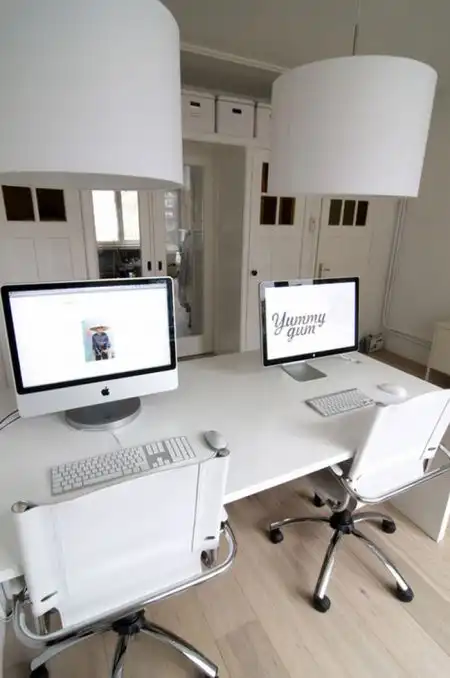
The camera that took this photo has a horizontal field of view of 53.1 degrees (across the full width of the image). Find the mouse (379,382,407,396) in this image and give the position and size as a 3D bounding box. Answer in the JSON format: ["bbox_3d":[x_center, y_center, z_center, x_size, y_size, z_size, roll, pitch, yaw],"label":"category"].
[{"bbox_3d":[0.633,0.183,1.691,0.042,0.019,0.064,-9,19,-29],"label":"mouse"}]

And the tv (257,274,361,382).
[{"bbox_3d":[0.341,-0.036,1.814,0.331,0.328,0.100,-13,22,-25],"label":"tv"}]

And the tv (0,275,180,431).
[{"bbox_3d":[-0.386,0.048,1.319,0.344,0.349,0.158,-12,27,-30],"label":"tv"}]

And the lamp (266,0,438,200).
[{"bbox_3d":[0.391,-0.672,1.407,0.418,0.494,0.414,17,25,41],"label":"lamp"}]
